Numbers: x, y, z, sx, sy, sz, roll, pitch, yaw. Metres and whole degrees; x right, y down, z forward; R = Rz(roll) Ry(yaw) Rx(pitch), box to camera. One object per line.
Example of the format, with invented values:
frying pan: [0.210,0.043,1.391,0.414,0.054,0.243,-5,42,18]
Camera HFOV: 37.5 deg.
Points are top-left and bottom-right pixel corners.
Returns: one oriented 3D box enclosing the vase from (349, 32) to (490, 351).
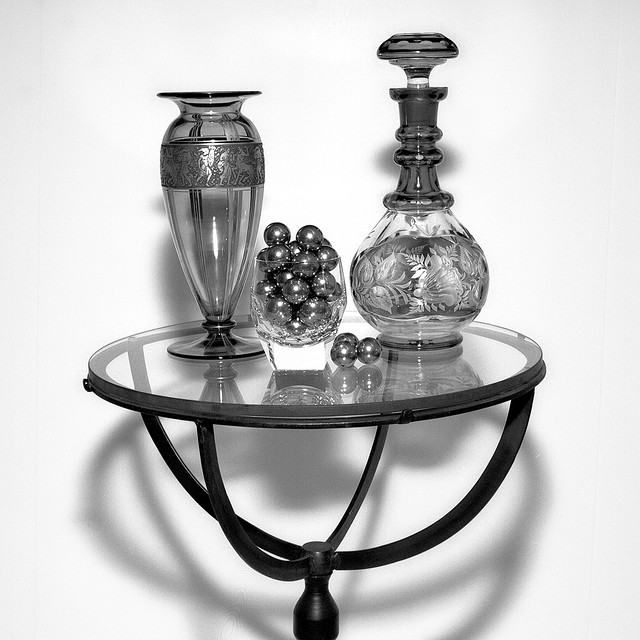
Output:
vase: [0.112,-0.112,1.067,0.153,0.288,0.100,0,14,6]

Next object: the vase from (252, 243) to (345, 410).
vase: [-0.022,0.009,1.027,0.102,0.160,0.093,1,9,-16]

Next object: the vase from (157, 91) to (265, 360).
vase: [-0.119,-0.113,1.074,0.113,0.280,0.067,-2,14,-5]

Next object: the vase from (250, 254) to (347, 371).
vase: [-0.025,-0.007,1.037,0.119,0.132,0.120,-1,-2,-22]
